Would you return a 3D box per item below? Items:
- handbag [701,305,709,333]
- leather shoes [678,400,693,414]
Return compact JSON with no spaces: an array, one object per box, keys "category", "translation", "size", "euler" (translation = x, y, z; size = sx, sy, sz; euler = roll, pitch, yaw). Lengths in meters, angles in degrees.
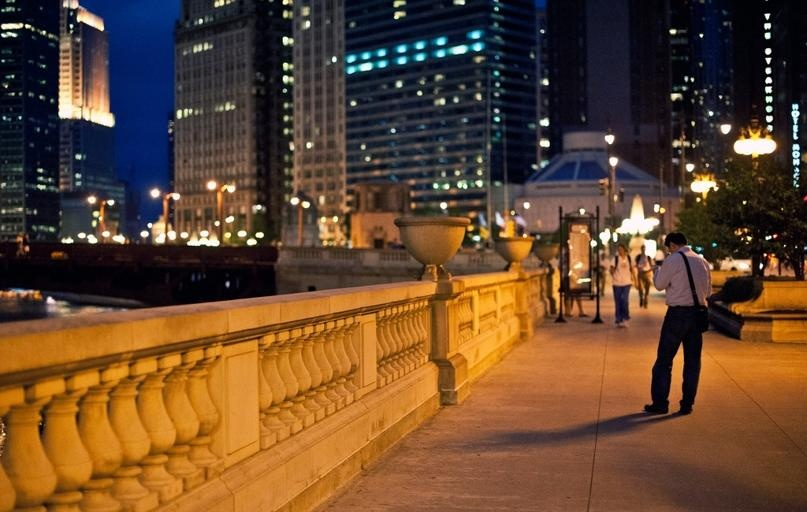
[{"category":"handbag","translation":[4.710,0.985,15.895],"size":[0.114,0.423,0.199],"euler":[-5,0,35]},{"category":"leather shoes","translation":[4.426,2.385,15.874],"size":[0.180,0.249,0.217],"euler":[3,2,4]}]
